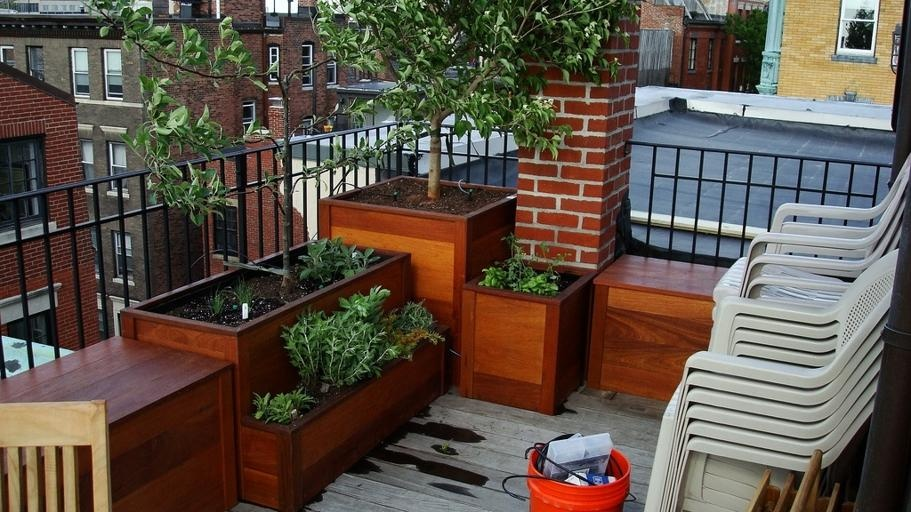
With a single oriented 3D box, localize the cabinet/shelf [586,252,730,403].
[{"bbox_3d":[1.429,0.494,5.537,1.306,1.086,0.942,5,17,18],"label":"cabinet/shelf"}]
